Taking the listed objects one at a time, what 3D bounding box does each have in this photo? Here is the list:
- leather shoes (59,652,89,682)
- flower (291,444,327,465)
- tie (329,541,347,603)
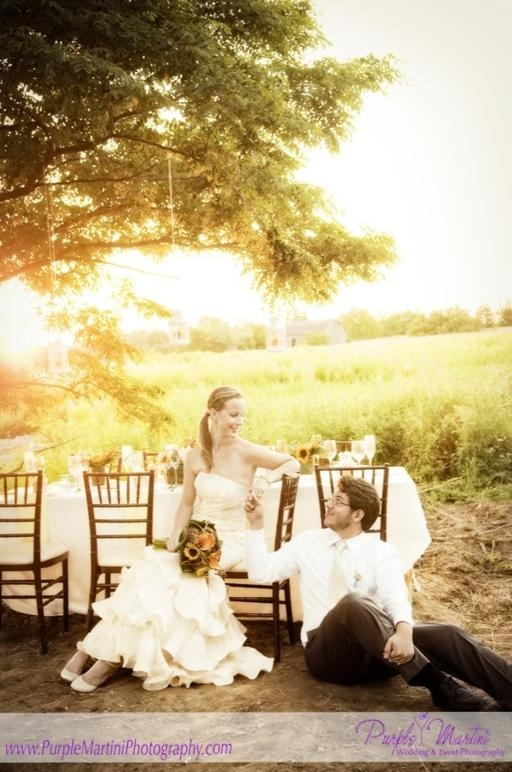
[{"bbox_3d":[-0.758,1.179,2.775,0.071,0.079,0.197,5,0,7],"label":"leather shoes"},{"bbox_3d":[0.306,0.397,3.703,0.136,0.125,0.062,-19,25,-17],"label":"flower"},{"bbox_3d":[0.313,0.727,2.513,0.054,0.199,0.016,-13,-36,31],"label":"tie"}]
